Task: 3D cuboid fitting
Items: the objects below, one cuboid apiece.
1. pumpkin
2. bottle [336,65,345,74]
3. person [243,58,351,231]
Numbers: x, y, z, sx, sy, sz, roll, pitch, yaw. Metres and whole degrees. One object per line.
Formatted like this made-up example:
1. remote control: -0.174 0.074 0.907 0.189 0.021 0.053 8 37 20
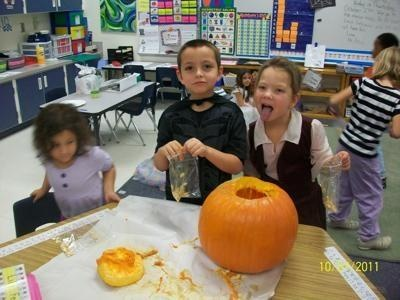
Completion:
1. pumpkin: 0.178 0.265 1.083 0.298 0.228 0.312 8 23 31
2. bottle: 2.412 -1.382 5.094 0.150 0.105 0.157 -6 31 4
3. person: 0.488 0.116 1.516 0.538 1.104 0.455 5 18 29
